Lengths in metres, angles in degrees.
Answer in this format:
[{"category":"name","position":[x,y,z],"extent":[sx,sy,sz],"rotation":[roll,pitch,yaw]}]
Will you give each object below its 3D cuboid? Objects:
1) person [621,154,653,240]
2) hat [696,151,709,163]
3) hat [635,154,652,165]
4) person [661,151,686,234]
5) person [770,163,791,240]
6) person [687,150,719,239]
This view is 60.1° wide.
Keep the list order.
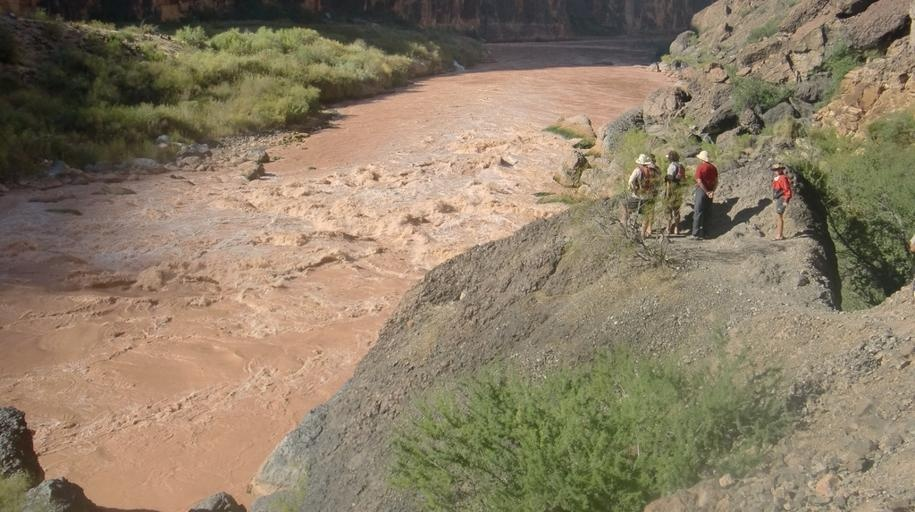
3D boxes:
[{"category":"person","position":[4.763,-1.595,20.454],"extent":[0.697,1.719,1.588],"rotation":[3,28,16]},{"category":"hat","position":[6.424,-2.585,20.635],"extent":[0.383,0.191,0.399],"rotation":[21,7,3]},{"category":"hat","position":[4.860,-2.512,20.714],"extent":[0.309,0.136,0.306],"rotation":[-10,38,-1]},{"category":"person","position":[5.629,-1.681,20.574],"extent":[0.529,1.783,1.274],"rotation":[3,28,16]},{"category":"person","position":[8.199,-1.451,20.050],"extent":[0.559,1.456,1.751],"rotation":[6,29,21]},{"category":"person","position":[6.323,-1.448,20.246],"extent":[0.520,1.598,1.310],"rotation":[4,28,17]}]
